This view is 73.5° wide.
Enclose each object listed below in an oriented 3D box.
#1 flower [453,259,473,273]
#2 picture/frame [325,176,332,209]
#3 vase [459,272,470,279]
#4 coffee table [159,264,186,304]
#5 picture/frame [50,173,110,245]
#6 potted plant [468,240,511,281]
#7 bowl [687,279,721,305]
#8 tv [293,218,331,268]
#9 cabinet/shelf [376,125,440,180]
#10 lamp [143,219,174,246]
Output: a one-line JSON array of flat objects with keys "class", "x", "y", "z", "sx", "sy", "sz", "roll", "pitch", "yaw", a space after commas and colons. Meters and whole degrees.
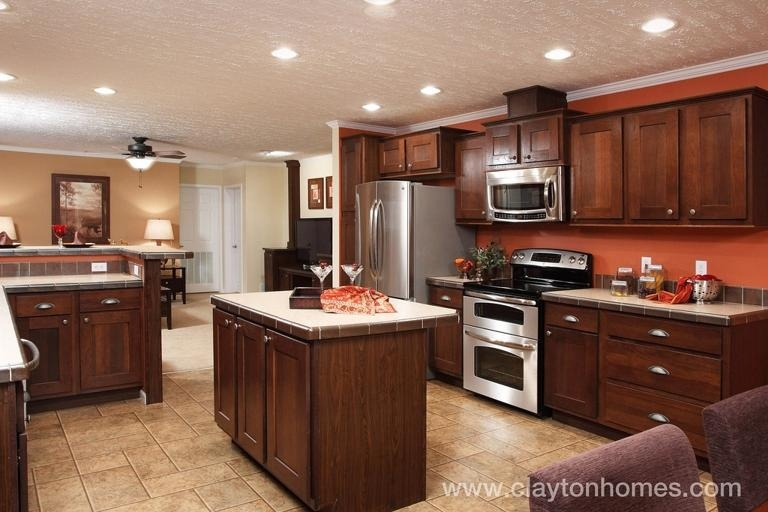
[{"class": "flower", "x": 0.820, "y": 0.095, "z": 5.308, "sx": 0.170, "sy": 0.101, "sz": 0.156, "roll": 1, "pitch": -3, "yaw": -5}, {"class": "picture/frame", "x": -0.965, "y": -1.072, "z": 8.748, "sx": 0.090, "sy": 0.551, "sz": 0.215, "roll": -5, "pitch": 5, "yaw": -19}, {"class": "vase", "x": 0.816, "y": 0.205, "z": 5.308, "sx": 0.081, "sy": 0.038, "sz": 0.080, "roll": 1, "pitch": 2, "yaw": 42}, {"class": "coffee table", "x": -3.564, "y": 0.490, "z": 8.677, "sx": 0.396, "sy": 0.629, "sz": 0.834, "roll": -3, "pitch": 4, "yaw": -28}, {"class": "picture/frame", "x": -5.160, "y": -0.788, "z": 8.803, "sx": 0.908, "sy": 1.194, "sz": 0.252, "roll": -4, "pitch": 5, "yaw": -20}, {"class": "potted plant", "x": 0.974, "y": 0.046, "z": 5.354, "sx": 0.471, "sy": 0.348, "sz": 0.410, "roll": 2, "pitch": -3, "yaw": -25}, {"class": "bowl", "x": 2.380, "y": 0.264, "z": 3.835, "sx": 0.211, "sy": 0.121, "sz": 0.209, "roll": 0, "pitch": -4, "yaw": 0}, {"class": "tv", "x": -1.158, "y": -0.218, "z": 8.373, "sx": 0.147, "sy": 0.594, "sz": 1.037, "roll": -5, "pitch": 5, "yaw": -35}, {"class": "cabinet/shelf", "x": 0.268, "y": -1.122, "z": 5.740, "sx": 0.266, "sy": 0.389, "sz": 0.943, "roll": -1, "pitch": 1, "yaw": -37}, {"class": "lamp", "x": -4.115, "y": -0.435, "z": 9.389, "sx": 0.523, "sy": 0.476, "sz": 0.632, "roll": -4, "pitch": 4, "yaw": -20}]
